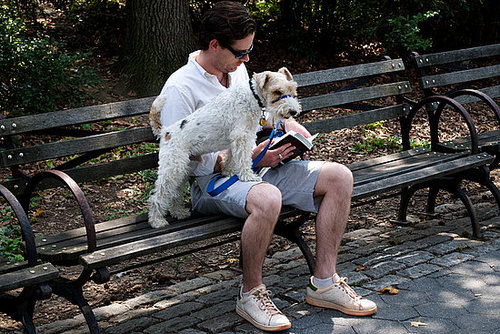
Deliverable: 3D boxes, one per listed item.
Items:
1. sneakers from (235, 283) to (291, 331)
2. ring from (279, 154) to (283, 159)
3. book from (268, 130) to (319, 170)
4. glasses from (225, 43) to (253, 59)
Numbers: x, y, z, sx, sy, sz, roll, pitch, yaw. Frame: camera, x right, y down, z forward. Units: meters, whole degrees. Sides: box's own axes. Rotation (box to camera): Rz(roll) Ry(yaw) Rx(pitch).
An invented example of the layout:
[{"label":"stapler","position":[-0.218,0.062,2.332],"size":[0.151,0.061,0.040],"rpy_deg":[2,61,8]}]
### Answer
[{"label":"sneakers","position":[0.082,1.244,3.863],"size":[0.634,0.281,0.232],"rpy_deg":[16,20,38]},{"label":"ring","position":[0.285,-0.100,4.067],"size":[0.029,0.041,0.010],"rpy_deg":[-3,15,19]},{"label":"book","position":[0.375,-0.171,4.009],"size":[0.325,0.126,0.339],"rpy_deg":[27,-43,-35]},{"label":"glasses","position":[-0.143,-1.114,4.108],"size":[0.165,0.047,0.168],"rpy_deg":[38,41,28]}]
